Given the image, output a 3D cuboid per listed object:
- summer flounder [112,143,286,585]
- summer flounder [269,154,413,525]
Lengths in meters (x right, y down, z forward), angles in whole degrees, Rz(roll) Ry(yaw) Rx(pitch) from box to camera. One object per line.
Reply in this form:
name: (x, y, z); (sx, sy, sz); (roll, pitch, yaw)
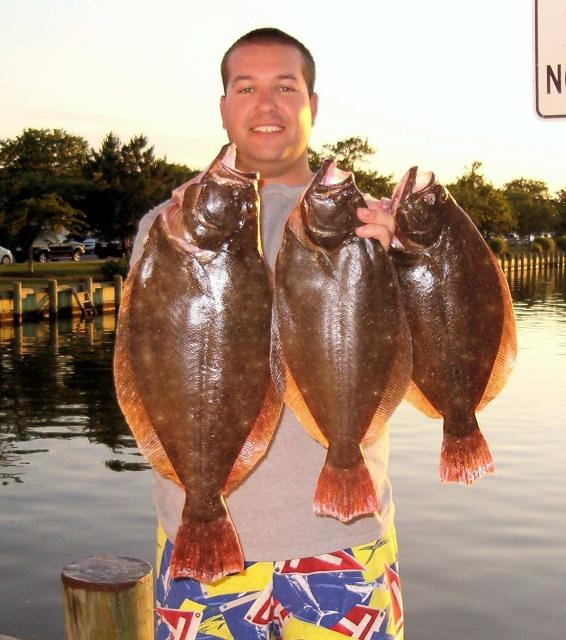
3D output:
summer flounder: (-0.268, 0.134, 2.501); (0.501, 1.308, 0.233); (-2, 8, -1)
summer flounder: (0.182, 0.063, 2.539); (0.413, 1.083, 0.246); (-1, 8, 6)
